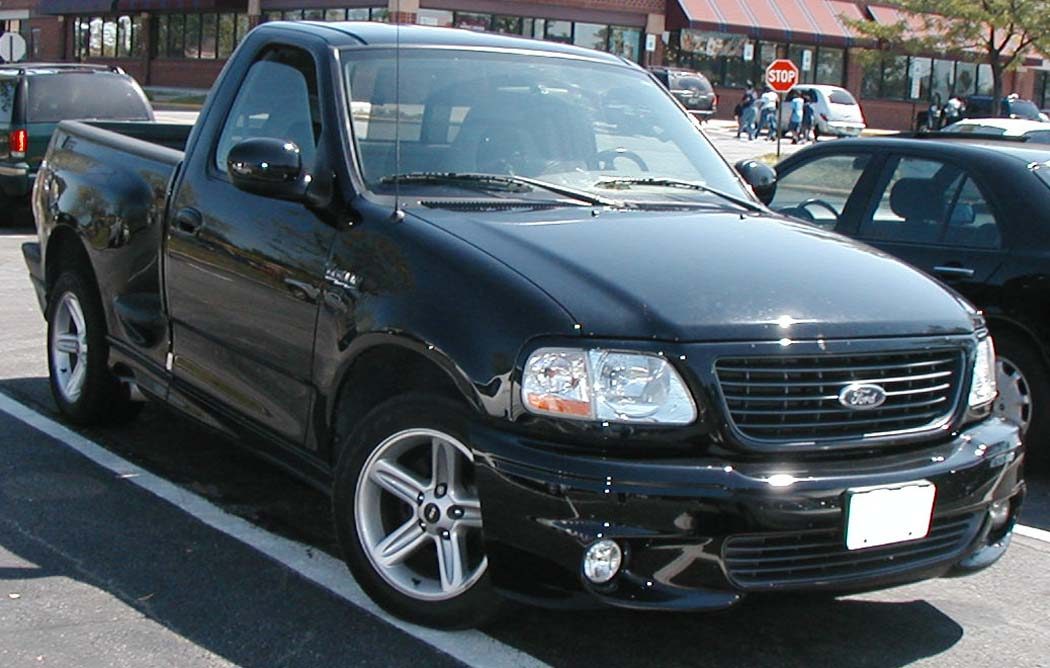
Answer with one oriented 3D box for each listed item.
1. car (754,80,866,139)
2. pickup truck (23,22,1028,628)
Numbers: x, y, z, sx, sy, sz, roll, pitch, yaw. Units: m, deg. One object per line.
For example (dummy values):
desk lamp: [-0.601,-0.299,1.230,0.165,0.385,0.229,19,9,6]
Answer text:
car: [12.320,-9.472,40.602,2.919,2.119,5.239,-8,21,-22]
pickup truck: [-0.637,-0.439,5.130,2.555,1.703,5.176,-2,10,-37]
